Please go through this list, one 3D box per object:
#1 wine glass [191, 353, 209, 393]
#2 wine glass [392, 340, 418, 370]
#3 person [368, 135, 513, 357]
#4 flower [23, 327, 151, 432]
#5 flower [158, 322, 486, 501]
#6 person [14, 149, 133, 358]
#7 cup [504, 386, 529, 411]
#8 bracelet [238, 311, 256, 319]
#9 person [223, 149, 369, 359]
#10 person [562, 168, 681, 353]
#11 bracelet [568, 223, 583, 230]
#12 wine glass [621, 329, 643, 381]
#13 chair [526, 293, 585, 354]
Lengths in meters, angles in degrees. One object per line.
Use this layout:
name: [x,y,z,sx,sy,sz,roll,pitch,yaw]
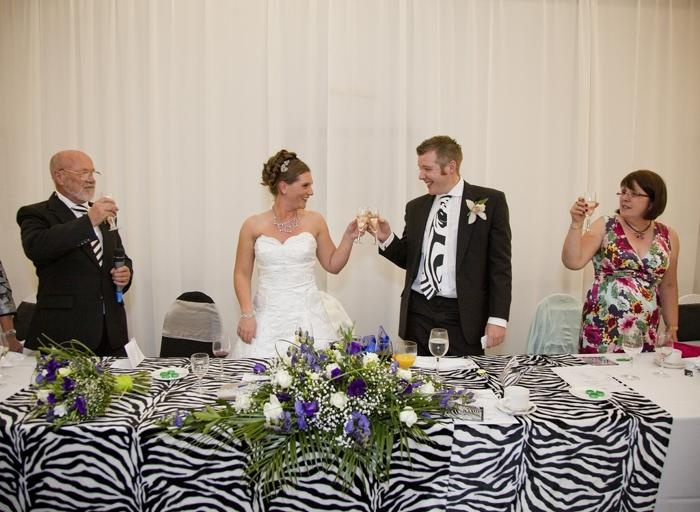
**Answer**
wine glass: [-0.796,0.620,3.201,0.098,0.215,0.101,-1,6,-23]
wine glass: [0.289,0.515,3.140,0.120,0.218,0.130,1,-4,-3]
person: [0.676,-0.073,4.253,0.897,1.538,0.350,1,1,19]
flower: [-1.333,0.662,3.060,0.448,0.440,0.335,9,-44,-29]
flower: [-0.094,0.816,3.041,1.226,0.559,0.961,-12,0,40]
person: [-1.902,-0.023,4.195,0.727,1.452,0.486,0,1,6]
cup: [0.818,0.691,2.977,0.118,0.097,0.094,-5,4,-16]
bracelet: [-0.711,0.401,4.148,0.099,0.049,0.090,0,0,9]
person: [-0.398,0.239,4.534,0.929,2.021,0.649,-5,18,-13]
person: [1.938,0.035,4.206,0.866,1.278,0.314,0,1,-4]
bracelet: [1.573,-0.212,4.139,0.050,0.045,0.056,0,7,0]
wine glass: [1.620,0.566,3.444,0.114,0.369,0.119,3,10,19]
chair: [1.550,0.518,4.420,0.306,0.490,0.268,-1,22,11]
